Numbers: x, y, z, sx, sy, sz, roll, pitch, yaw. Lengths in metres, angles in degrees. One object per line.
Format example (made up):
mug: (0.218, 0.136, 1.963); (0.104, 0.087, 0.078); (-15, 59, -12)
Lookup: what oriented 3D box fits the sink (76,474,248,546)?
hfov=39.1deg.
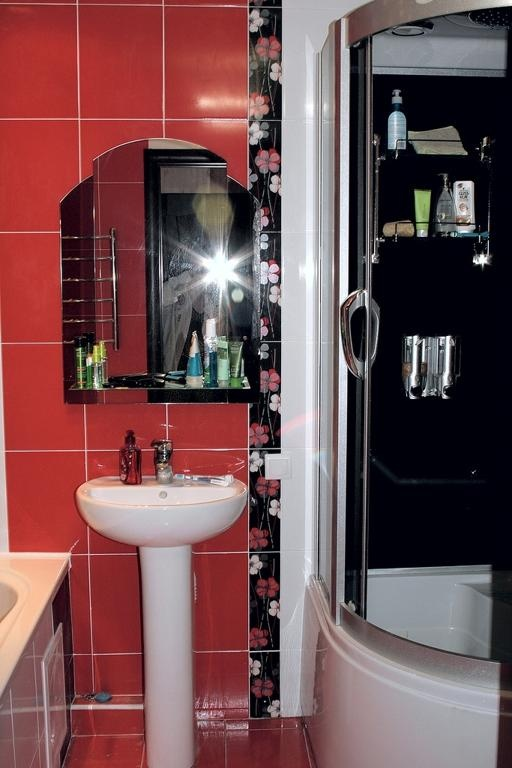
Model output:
sink: (-0.273, 0.358, 2.009); (0.469, 0.216, 0.424); (0, 5, -6)

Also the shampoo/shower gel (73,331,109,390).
shampoo/shower gel: (-0.519, -0.071, 2.266); (0.123, 0.293, 0.140); (0, 4, -18)

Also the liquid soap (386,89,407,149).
liquid soap: (0.386, -0.711, 1.970); (0.054, 0.190, 0.170); (0, 4, 12)

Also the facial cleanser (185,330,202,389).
facial cleanser: (-0.196, -0.074, 2.259); (0.055, 0.174, 0.048); (-1, 4, -7)

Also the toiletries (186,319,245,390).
toiletries: (-0.114, -0.096, 2.276); (0.172, 0.228, 0.184); (1, 9, 10)

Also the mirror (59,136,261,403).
mirror: (-0.301, -0.347, 2.251); (0.625, 0.806, 0.064); (-1, 4, 1)
